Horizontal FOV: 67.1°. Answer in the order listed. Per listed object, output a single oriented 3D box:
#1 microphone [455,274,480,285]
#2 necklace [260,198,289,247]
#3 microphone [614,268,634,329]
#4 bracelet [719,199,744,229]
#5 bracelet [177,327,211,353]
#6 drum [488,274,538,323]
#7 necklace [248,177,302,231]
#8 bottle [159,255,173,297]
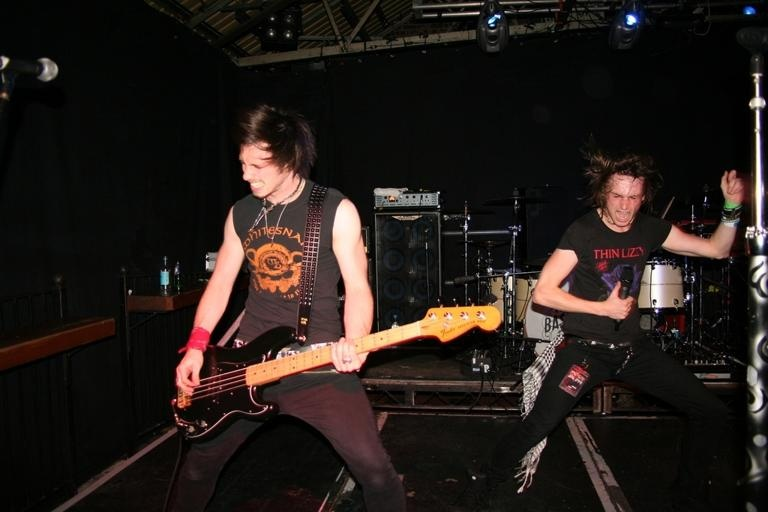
[{"bbox_3d":[0.914,0.260,6.431,0.137,0.116,0.455,2,6,39],"label":"microphone"},{"bbox_3d":[-0.735,-0.232,4.238,0.167,0.282,0.288,11,9,19],"label":"necklace"},{"bbox_3d":[1.878,0.325,4.505,0.106,0.508,0.309,6,4,22],"label":"microphone"},{"bbox_3d":[2.734,-0.335,4.556,0.135,0.207,0.210,3,-5,2],"label":"bracelet"},{"bbox_3d":[-1.401,0.644,4.324,0.227,0.172,0.096,-12,-39,-3],"label":"bracelet"},{"bbox_3d":[1.639,0.511,7.313,0.665,0.693,0.587,0,0,17],"label":"drum"},{"bbox_3d":[-0.808,-0.355,4.292,0.234,0.483,0.071,33,14,24],"label":"necklace"},{"bbox_3d":[-2.409,0.189,6.384,0.147,0.351,0.145,1,3,0],"label":"bottle"}]
